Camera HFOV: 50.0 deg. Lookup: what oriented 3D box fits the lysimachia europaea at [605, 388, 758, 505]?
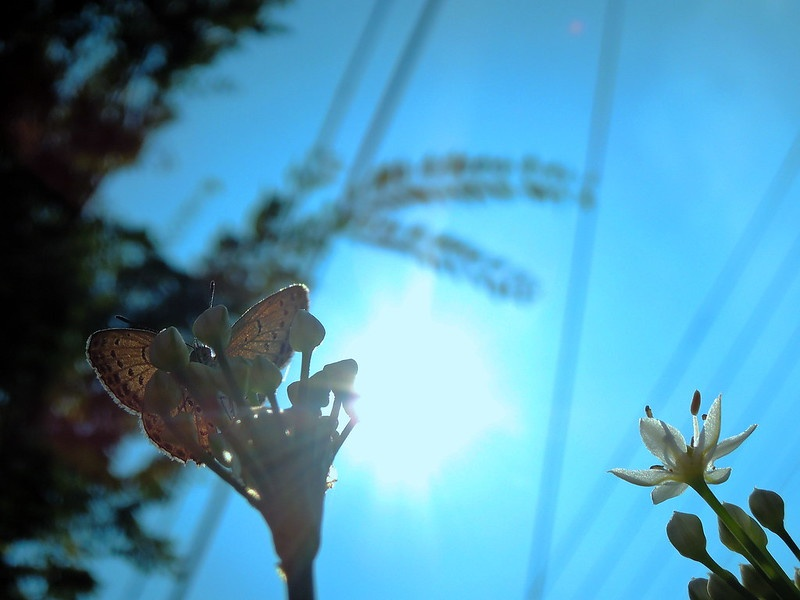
[{"bbox_3d":[1.247,0.630,3.799,0.524,0.521,0.367,20,-30,-6],"label":"lysimachia europaea"}]
